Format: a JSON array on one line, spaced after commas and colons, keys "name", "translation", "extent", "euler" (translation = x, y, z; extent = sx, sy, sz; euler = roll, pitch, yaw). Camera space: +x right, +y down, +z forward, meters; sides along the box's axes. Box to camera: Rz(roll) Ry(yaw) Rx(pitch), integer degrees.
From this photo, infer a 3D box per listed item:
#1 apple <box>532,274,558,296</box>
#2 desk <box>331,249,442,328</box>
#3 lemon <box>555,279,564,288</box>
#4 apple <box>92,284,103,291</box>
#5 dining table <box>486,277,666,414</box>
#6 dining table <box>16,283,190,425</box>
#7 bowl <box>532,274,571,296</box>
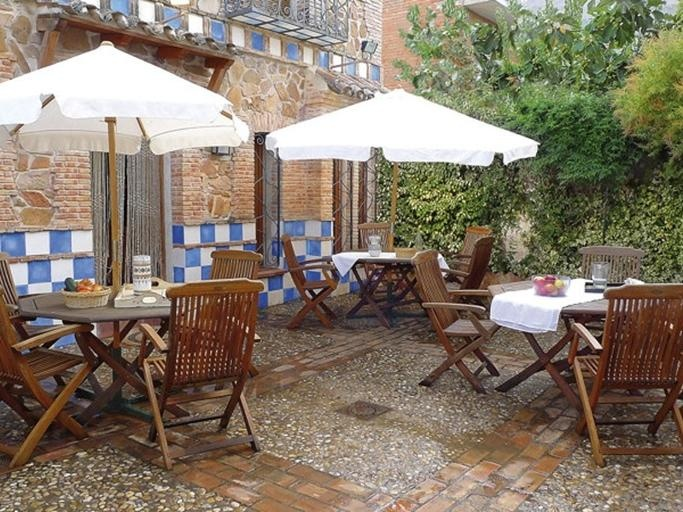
[{"name": "apple", "translation": [2.037, 0.293, 5.341], "extent": [0.231, 0.131, 0.215], "euler": [1, -5, -10]}, {"name": "desk", "translation": [0.819, 0.561, 9.400], "extent": [1.050, 0.837, 1.884], "euler": [-10, -4, 37]}, {"name": "lemon", "translation": [2.152, 0.278, 5.274], "extent": [0.078, 0.065, 0.071], "euler": [3, -12, 12]}, {"name": "apple", "translation": [-2.265, 0.295, 4.968], "extent": [0.087, 0.050, 0.095], "euler": [-1, 4, -12]}, {"name": "dining table", "translation": [2.265, 0.870, 5.314], "extent": [1.381, 0.827, 1.314], "euler": [2, 6, 27]}, {"name": "dining table", "translation": [-2.204, 0.802, 4.819], "extent": [1.116, 0.617, 1.063], "euler": [10, 9, 22]}, {"name": "bowl", "translation": [2.085, 0.293, 5.392], "extent": [0.268, 0.118, 0.251], "euler": [1, -2, 0]}]
